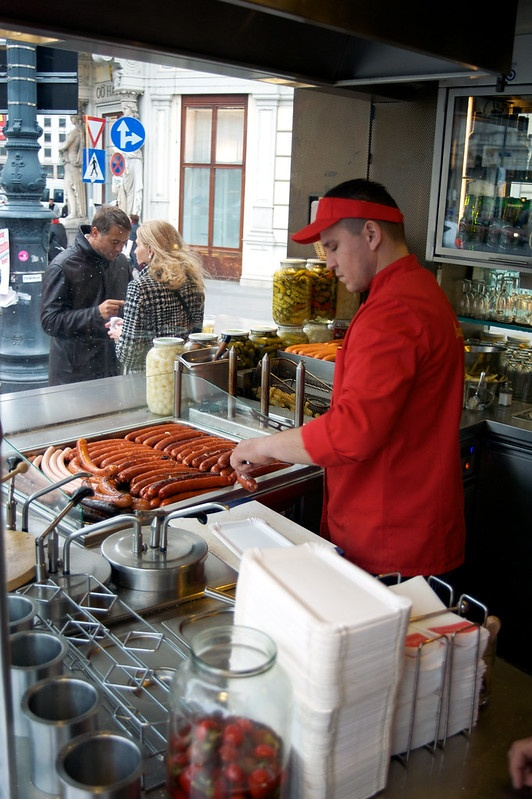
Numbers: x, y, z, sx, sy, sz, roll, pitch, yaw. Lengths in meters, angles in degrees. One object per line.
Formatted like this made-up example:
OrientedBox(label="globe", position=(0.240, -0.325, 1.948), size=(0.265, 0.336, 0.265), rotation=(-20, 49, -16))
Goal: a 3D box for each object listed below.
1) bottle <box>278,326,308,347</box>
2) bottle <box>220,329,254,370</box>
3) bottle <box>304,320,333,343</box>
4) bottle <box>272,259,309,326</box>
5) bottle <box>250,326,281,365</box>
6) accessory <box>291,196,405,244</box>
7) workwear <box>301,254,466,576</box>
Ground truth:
OrientedBox(label="bottle", position=(0.176, -0.413, 3.786), size=(0.159, 0.149, 0.157), rotation=(-2, 10, -4))
OrientedBox(label="bottle", position=(-0.132, -0.275, 3.099), size=(0.189, 0.190, 0.201), rotation=(-1, 4, 0))
OrientedBox(label="bottle", position=(0.342, -0.444, 3.829), size=(0.153, 0.141, 0.151), rotation=(-2, 10, -9))
OrientedBox(label="bottle", position=(0.171, -0.697, 3.820), size=(0.275, 0.431, 0.271), rotation=(1, 16, 0))
OrientedBox(label="bottle", position=(-0.009, -0.302, 3.395), size=(0.190, 0.179, 0.188), rotation=(-2, 8, -10))
OrientedBox(label="accessory", position=(0.250, -0.562, 1.842), size=(0.333, 0.133, 0.165), rotation=(4, 13, 10))
OrientedBox(label="workwear", position=(0.349, 0.079, 1.805), size=(0.365, 1.026, 0.632), rotation=(12, 17, 40))
